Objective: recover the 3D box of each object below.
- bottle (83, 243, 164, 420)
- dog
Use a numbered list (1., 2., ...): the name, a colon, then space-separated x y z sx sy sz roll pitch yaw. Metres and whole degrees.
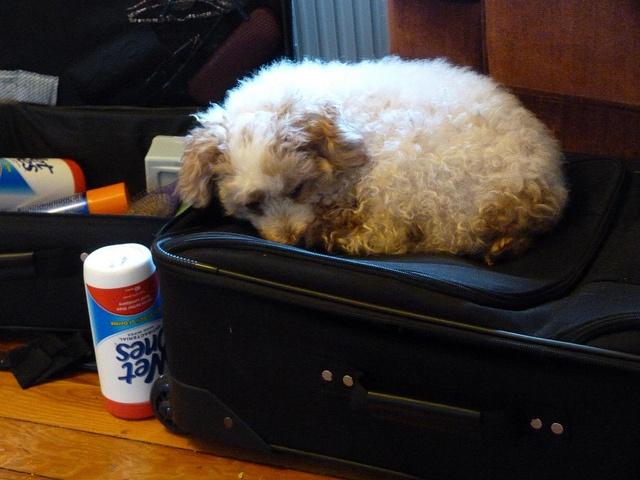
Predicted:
1. bottle: -0.383 0.190 1.338 0.160 0.383 0.185 -18 31 -35
2. dog: 0.117 -0.159 1.386 0.671 0.496 0.558 12 25 3
